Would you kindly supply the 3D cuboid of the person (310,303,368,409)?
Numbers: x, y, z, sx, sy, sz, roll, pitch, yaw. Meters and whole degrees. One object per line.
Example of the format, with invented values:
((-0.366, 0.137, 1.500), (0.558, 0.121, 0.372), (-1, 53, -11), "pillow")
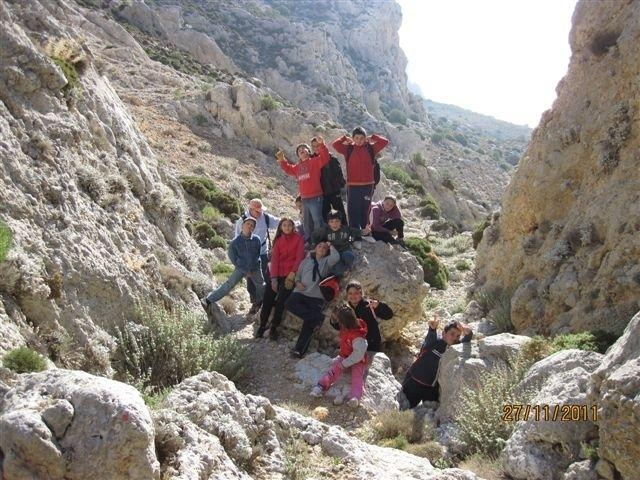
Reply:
((0.303, 1.792, 10.868), (0.862, 1.452, 1.230), (-1, 15, 6), "person")

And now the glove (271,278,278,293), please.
((-0.804, 0.829, 12.223), (0.150, 0.201, 0.182), (16, -34, 7), "glove")

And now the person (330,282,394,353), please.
((0.687, 1.274, 11.451), (0.833, 1.116, 0.413), (-28, 7, 20), "person")

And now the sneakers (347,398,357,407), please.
((0.503, 2.499, 10.362), (0.118, 0.127, 0.120), (1, 7, -26), "sneakers")

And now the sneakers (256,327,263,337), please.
((-1.089, 1.698, 12.252), (0.075, 0.233, 0.160), (12, -16, 13), "sneakers")

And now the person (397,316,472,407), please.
((1.830, 2.254, 11.009), (0.727, 2.070, 0.648), (18, 9, -3), "person")

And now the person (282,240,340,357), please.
((-0.099, 1.135, 12.092), (0.873, 1.997, 0.816), (14, -7, 25), "person")

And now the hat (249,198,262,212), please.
((-1.271, -0.684, 13.111), (0.206, 0.249, 0.246), (-1, -19, -12), "hat")

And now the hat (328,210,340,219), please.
((0.277, -0.428, 12.238), (0.206, 0.162, 0.262), (20, 4, -9), "hat")

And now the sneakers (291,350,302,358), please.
((-0.416, 1.984, 11.646), (0.120, 0.080, 0.162), (11, -9, -23), "sneakers")

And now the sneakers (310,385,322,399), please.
((-0.049, 2.417, 10.644), (0.207, 0.207, 0.159), (20, 3, 3), "sneakers")
